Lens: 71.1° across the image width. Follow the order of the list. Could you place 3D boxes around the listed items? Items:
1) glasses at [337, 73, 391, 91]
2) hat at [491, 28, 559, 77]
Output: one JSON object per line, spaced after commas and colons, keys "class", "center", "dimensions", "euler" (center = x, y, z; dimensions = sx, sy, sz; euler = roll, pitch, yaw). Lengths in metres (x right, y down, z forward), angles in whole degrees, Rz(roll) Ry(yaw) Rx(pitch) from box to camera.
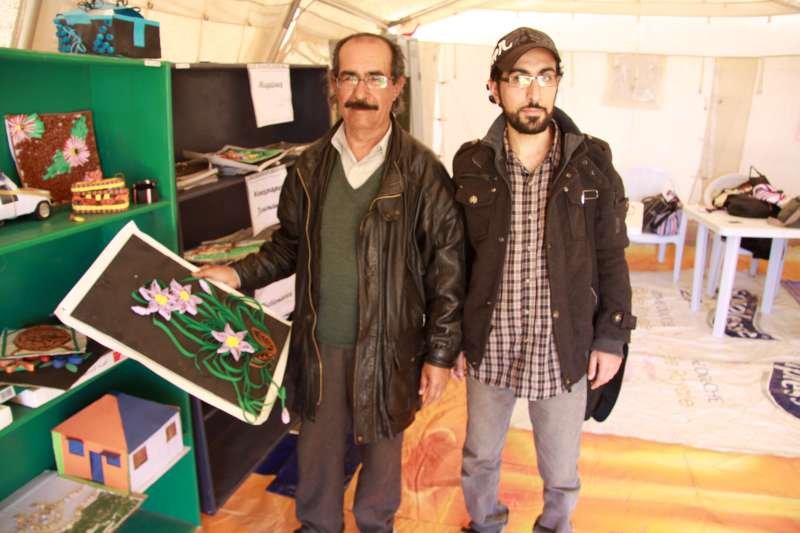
{"class": "glasses", "center": [-0.175, -0.874, 2.645], "dimensions": [0.237, 0.074, 0.059], "euler": [2, 12, -5]}
{"class": "hat", "center": [0.591, -1.011, 2.627], "dimensions": [0.280, 0.248, 0.234], "euler": [-1, 13, -20]}
